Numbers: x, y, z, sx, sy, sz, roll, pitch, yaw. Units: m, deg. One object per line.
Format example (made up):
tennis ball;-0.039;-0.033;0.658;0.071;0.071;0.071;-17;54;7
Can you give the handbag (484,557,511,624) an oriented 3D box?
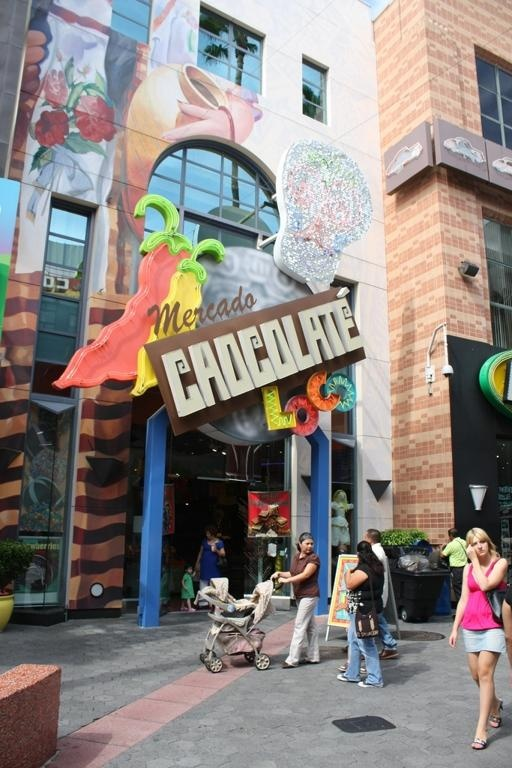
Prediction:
handbag;1.894;1.642;4.270;0.370;0.496;0.138;16;-19;-27

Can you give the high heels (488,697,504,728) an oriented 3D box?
high heels;2.080;2.851;4.695;0.131;0.085;0.565;-4;-13;20

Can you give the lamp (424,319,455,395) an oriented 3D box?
lamp;5.020;-0.711;14.780;0.531;2.002;1.140;4;-13;-12

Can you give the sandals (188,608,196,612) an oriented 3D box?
sandals;-1.433;5.039;12.034;0.142;0.065;0.072;-1;-5;14

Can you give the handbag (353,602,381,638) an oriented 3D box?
handbag;1.185;2.586;5.848;0.248;0.330;0.319;-1;-13;12

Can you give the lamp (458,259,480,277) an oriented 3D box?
lamp;6.105;-3.264;15.480;0.608;0.521;0.417;5;2;-40

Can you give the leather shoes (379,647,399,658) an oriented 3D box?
leather shoes;1.905;3.811;7.661;0.325;0.146;0.123;6;-12;-18

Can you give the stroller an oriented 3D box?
stroller;-0.271;3.080;6.948;0.974;1.109;0.595;7;-14;-22

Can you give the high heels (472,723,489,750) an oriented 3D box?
high heels;1.639;2.594;3.938;0.077;0.109;0.265;-10;-30;23

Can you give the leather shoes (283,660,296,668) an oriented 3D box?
leather shoes;0.433;3.587;6.913;0.200;0.090;0.068;3;-1;-7

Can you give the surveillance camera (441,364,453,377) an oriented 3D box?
surveillance camera;5.048;-0.386;14.305;0.250;0.359;0.349;-5;-16;5
